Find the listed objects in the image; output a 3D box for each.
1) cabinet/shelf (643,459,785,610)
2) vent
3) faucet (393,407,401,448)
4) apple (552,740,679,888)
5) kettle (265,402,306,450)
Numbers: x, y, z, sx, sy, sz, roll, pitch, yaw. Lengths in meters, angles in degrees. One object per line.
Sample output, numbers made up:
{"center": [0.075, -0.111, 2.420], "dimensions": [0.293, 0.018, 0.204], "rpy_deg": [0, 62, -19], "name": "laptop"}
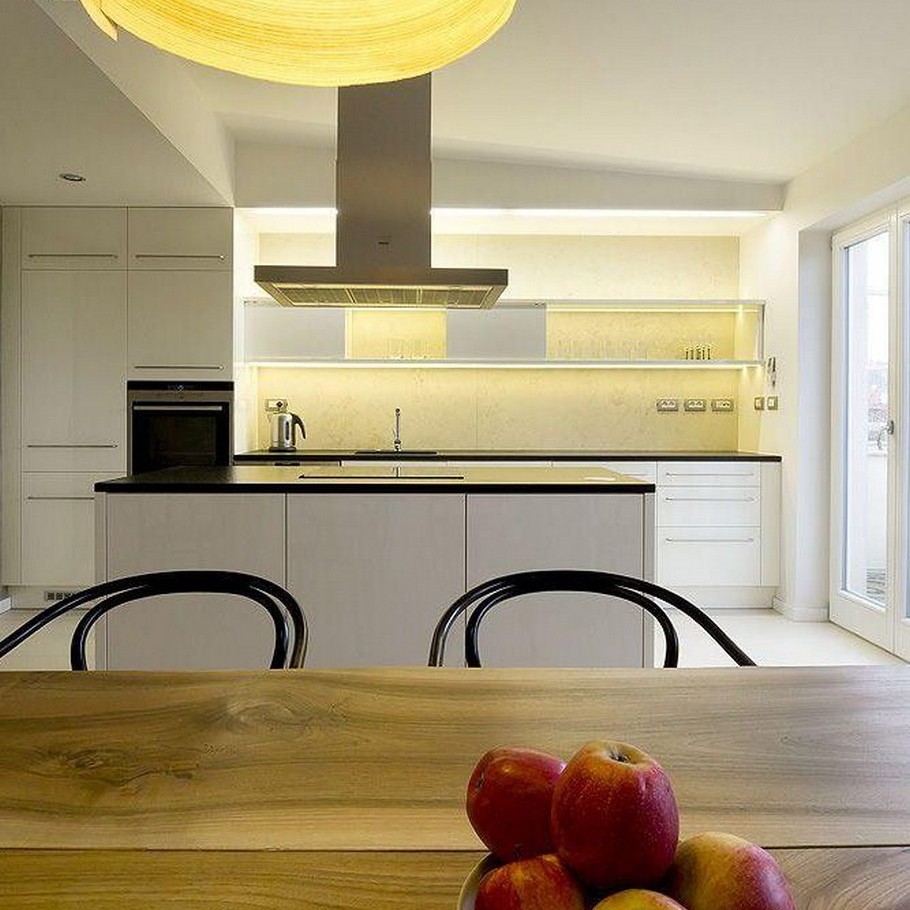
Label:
{"center": [1.556, 0.380, 5.222], "dimensions": [0.756, 0.984, 0.688], "rpy_deg": [-4, 21, 8], "name": "cabinet/shelf"}
{"center": [-0.249, -1.004, 3.461], "dimensions": [0.850, 1.213, 0.677], "rpy_deg": [0, 2, -1], "name": "vent"}
{"center": [-0.397, -0.176, 5.713], "dimensions": [0.055, 0.281, 0.112], "rpy_deg": [0, 5, -1], "name": "faucet"}
{"center": [0.108, 0.246, 0.564], "dimensions": [0.071, 0.100, 0.077], "rpy_deg": [4, -5, 19], "name": "apple"}
{"center": [-1.093, -0.189, 5.472], "dimensions": [0.252, 0.313, 0.542], "rpy_deg": [-1, 6, -13], "name": "kettle"}
